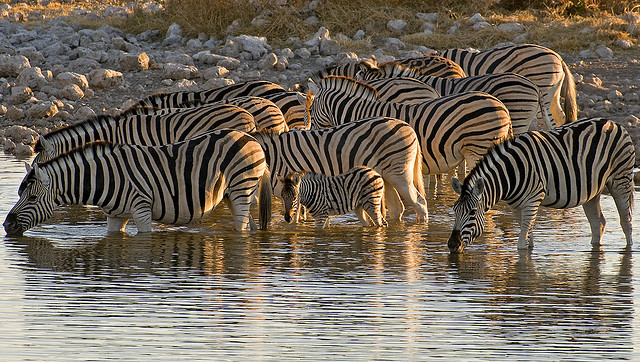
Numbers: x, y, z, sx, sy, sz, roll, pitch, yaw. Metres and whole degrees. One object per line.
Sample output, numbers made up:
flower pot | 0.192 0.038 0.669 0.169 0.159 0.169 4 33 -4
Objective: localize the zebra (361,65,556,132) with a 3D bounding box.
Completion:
zebra | 2.195 -1.575 24.263 5.658 1.079 2.609 0 -9 -3

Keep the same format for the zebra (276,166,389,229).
zebra | 0.206 0.429 21.262 2.294 1.216 0.632 -8 11 -34
